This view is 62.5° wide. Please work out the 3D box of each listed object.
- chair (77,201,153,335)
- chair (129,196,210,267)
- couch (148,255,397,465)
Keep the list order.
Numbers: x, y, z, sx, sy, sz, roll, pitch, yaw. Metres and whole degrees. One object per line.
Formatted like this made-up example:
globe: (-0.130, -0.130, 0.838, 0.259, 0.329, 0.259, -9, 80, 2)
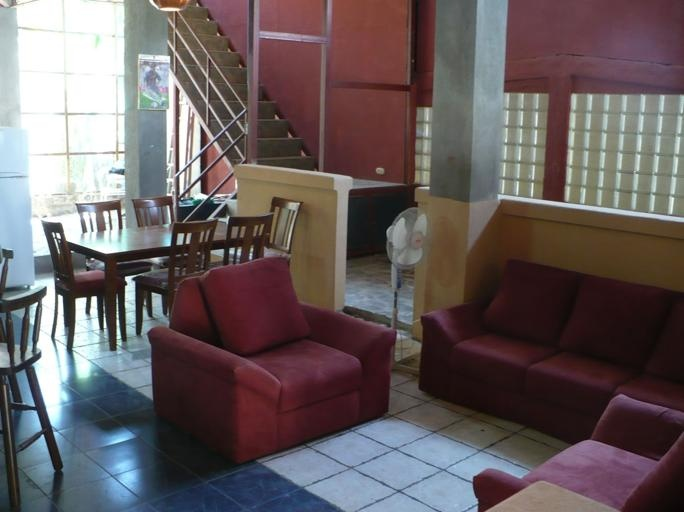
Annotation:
chair: (-2.698, 0.033, 6.411, 0.680, 0.845, 1.293, -8, -21, -8)
chair: (-2.165, -0.244, 6.503, 0.485, 0.817, 0.569, -3, 12, -4)
couch: (-0.510, 0.727, 4.302, 1.258, 1.175, 1.575, 6, 8, 37)
